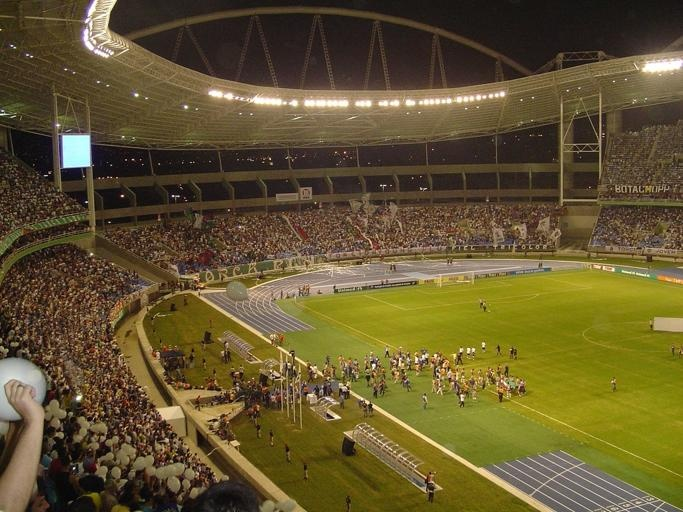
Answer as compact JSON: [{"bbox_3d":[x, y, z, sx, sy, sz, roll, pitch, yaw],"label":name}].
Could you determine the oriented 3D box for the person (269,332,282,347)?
[{"bbox_3d":[-5.465,6.937,44.818,0.865,1.225,0.498,7,19,20],"label":"person"}]

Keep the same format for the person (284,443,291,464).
[{"bbox_3d":[-2.751,10.045,27.504,0.332,0.819,0.640,3,-6,-30],"label":"person"}]
